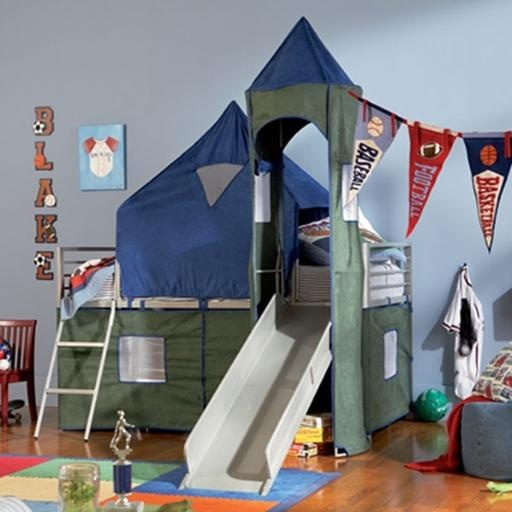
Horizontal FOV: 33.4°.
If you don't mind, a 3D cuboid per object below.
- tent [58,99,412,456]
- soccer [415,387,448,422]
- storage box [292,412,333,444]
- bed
[{"bbox_3d":[-0.082,0.201,6.931,2.470,2.904,2.047,0,-2,21],"label":"tent"},{"bbox_3d":[1.378,1.118,6.511,0.211,0.288,0.231,-1,-2,6],"label":"soccer"},{"bbox_3d":[0.429,1.188,5.834,0.250,0.205,0.388,0,4,13],"label":"storage box"},{"bbox_3d":[-0.524,0.776,6.674,1.893,1.167,1.481,-1,-2,28],"label":"bed"}]
